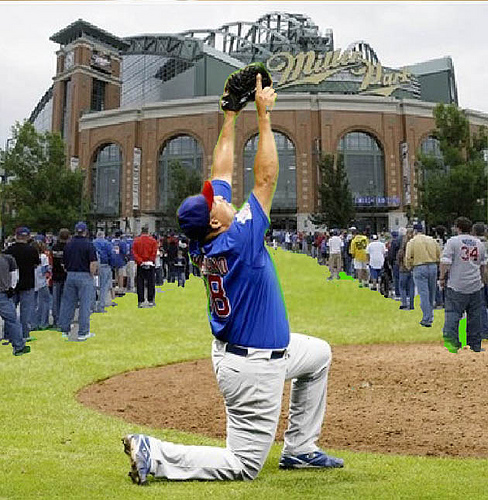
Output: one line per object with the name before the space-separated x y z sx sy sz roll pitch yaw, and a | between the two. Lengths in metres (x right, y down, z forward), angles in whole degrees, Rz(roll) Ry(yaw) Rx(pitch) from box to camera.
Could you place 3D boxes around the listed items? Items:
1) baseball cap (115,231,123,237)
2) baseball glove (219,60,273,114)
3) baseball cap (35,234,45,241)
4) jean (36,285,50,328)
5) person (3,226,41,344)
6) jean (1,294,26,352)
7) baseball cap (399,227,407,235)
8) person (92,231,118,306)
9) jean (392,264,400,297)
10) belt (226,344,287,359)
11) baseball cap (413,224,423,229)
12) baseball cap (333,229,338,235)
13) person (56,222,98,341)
baseball cap | -3.465 -0.414 29.002 0.112 0.137 0.142 -4 -5 11
baseball glove | 0.035 -2.290 15.189 0.732 0.606 0.261 -28 -6 18
baseball cap | -4.845 -0.274 25.193 0.154 0.146 0.159 -2 7 -35
jean | -4.349 1.230 22.862 0.300 0.967 0.571 -1 9 -12
person | -4.427 0.766 21.236 0.636 2.388 1.555 -1 9 -12
jean | -4.380 1.388 20.050 0.419 1.053 0.356 9 12 44
baseball cap | 4.049 -0.460 27.027 0.181 0.173 0.206 2 8 8
person | -3.482 0.605 26.177 0.579 2.256 0.566 -8 -13 28
jean | 4.081 0.823 28.459 0.215 0.989 0.965 2 9 8
belt | 0.150 1.430 14.796 0.807 0.189 0.099 1 9 -2
baseball cap | 3.987 -0.518 24.194 0.150 0.134 0.296 0 10 -4
baseball cap | 3.050 -0.559 35.376 0.126 0.221 0.192 0 3 5
person | -3.394 0.789 21.544 0.778 2.031 0.720 0 9 -3
